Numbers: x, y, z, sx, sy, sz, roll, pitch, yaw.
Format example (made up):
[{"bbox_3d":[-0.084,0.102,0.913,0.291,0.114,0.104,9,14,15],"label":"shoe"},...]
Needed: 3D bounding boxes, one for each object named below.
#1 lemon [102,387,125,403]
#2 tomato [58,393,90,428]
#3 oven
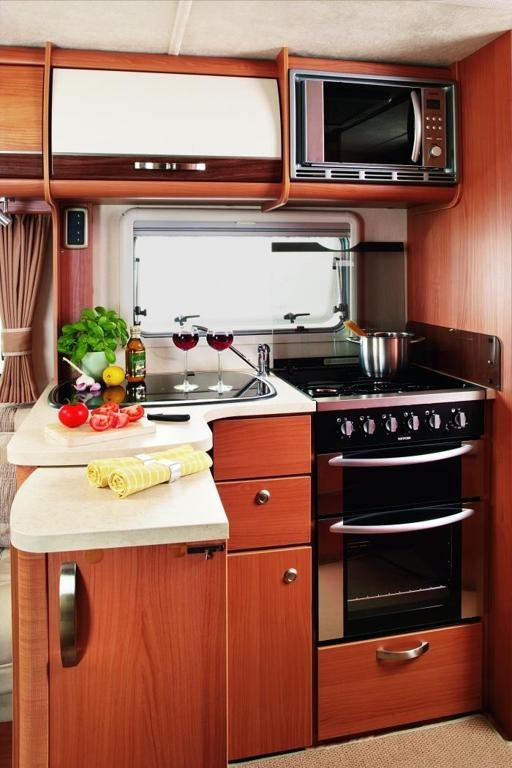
[{"bbox_3d":[-0.428,0.033,1.903,0.046,0.038,0.064,-2,11,10],"label":"lemon"},{"bbox_3d":[-0.441,0.062,1.521,0.067,0.068,0.069,6,12,25],"label":"tomato"},{"bbox_3d":[0.389,0.430,2.084,0.508,0.586,0.501,-1,9,-15],"label":"oven"}]
